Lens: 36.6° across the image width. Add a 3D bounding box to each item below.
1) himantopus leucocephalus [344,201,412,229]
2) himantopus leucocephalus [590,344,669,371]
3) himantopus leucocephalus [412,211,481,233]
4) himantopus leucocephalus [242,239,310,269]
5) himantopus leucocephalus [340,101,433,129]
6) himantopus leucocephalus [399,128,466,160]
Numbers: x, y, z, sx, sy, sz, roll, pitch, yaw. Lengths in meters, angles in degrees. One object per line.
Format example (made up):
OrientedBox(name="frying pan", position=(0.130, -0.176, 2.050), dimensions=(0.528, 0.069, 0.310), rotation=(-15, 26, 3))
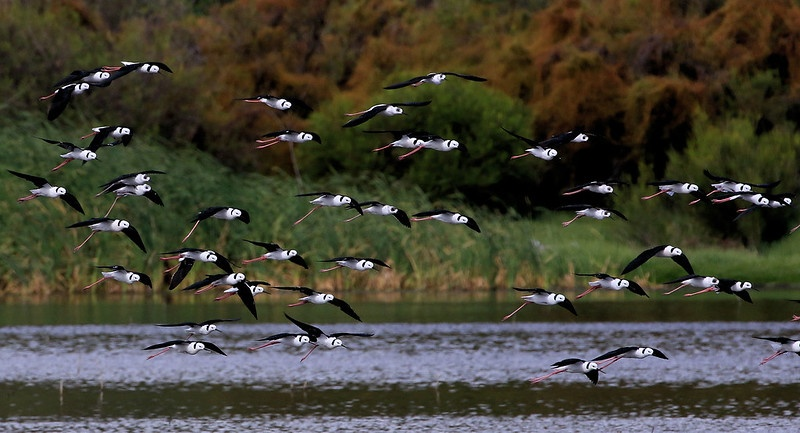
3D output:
OrientedBox(name="himantopus leucocephalus", position=(-0.275, -0.100, 21.238), dimensions=(0.808, 0.183, 0.795), rotation=(13, -5, -43))
OrientedBox(name="himantopus leucocephalus", position=(3.780, 2.316, 20.150), dimensions=(0.924, 0.192, 0.919), rotation=(0, 0, 36))
OrientedBox(name="himantopus leucocephalus", position=(0.805, 0.026, 21.137), dimensions=(0.768, 0.157, 0.738), rotation=(13, 2, 31))
OrientedBox(name="himantopus leucocephalus", position=(-1.973, 0.652, 21.010), dimensions=(0.880, 0.207, 1.053), rotation=(18, 3, 9))
OrientedBox(name="himantopus leucocephalus", position=(-0.211, -2.562, 30.943), dimensions=(1.836, 0.269, 2.275), rotation=(4, 16, 40))
OrientedBox(name="himantopus leucocephalus", position=(0.531, -1.202, 21.134), dimensions=(1.183, 0.292, 1.119), rotation=(4, -12, 29))
